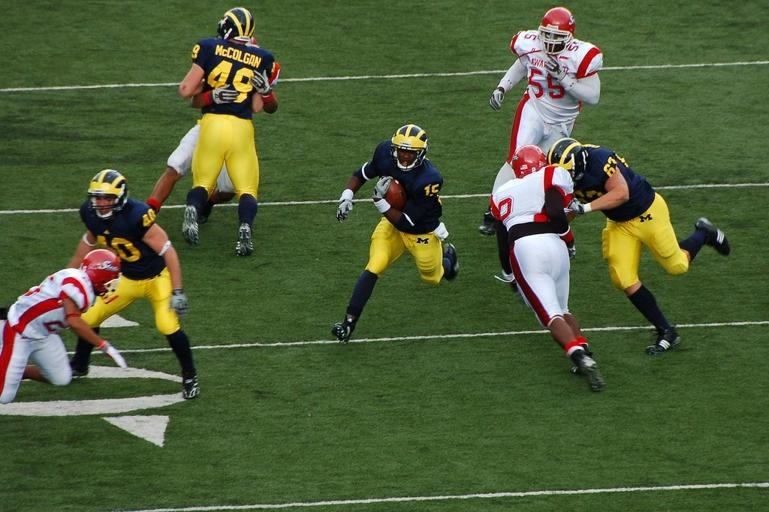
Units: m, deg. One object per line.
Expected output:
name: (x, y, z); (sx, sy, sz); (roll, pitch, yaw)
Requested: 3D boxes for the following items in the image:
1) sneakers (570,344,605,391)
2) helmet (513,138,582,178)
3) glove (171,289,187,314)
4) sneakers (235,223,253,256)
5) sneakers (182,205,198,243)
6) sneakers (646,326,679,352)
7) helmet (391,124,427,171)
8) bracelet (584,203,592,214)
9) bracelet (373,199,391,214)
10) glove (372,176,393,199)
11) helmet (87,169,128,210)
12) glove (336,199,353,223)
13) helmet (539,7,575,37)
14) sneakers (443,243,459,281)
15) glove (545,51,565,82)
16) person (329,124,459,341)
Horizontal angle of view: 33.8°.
sneakers: (1.814, 1.012, 11.356); (0.207, 0.600, 0.284); (-44, 83, -3)
helmet: (1.498, -0.950, 11.917); (0.632, 0.244, 0.349); (-14, 27, 16)
glove: (-1.855, 0.413, 11.378); (0.181, 0.189, 0.069); (-18, 2, -9)
sneakers: (-1.427, -0.155, 12.849); (0.193, 0.163, 0.335); (0, 57, -10)
sneakers: (-1.954, -0.303, 12.741); (0.262, 0.327, 0.124); (1, -5, -22)
sneakers: (2.626, 0.800, 11.954); (0.316, 0.133, 0.095); (-28, 26, 3)
helmet: (0.284, -1.074, 11.992); (0.405, 0.373, 0.429); (6, 34, 10)
bracelet: (1.893, -0.447, 11.714); (0.096, 0.067, 0.084); (0, -5, 14)
bracelet: (-0.034, -0.469, 11.958); (0.161, 0.132, 0.138); (-5, 24, 38)
glove: (-0.027, -0.641, 11.953); (0.159, 0.081, 0.199); (18, 70, -11)
helmet: (-2.524, -0.595, 11.348); (0.361, 0.296, 0.403); (0, 6, 6)
glove: (-0.330, -0.425, 12.118); (0.095, 0.182, 0.205); (22, -24, -30)
helmet: (1.719, -2.333, 12.634); (0.320, 0.246, 0.263); (7, 32, 5)
sneakers: (0.641, 0.066, 12.591); (0.158, 0.366, 0.191); (-4, 23, -4)
glove: (1.711, -1.888, 12.656); (0.207, 0.226, 0.216); (7, 33, 4)
person: (-0.042, -0.399, 12.022); (1.116, 1.618, 0.994); (-16, 40, -28)
